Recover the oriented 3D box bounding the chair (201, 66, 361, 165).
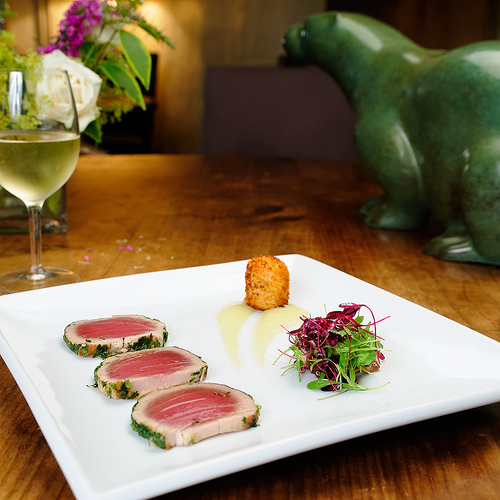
[{"bbox_3d":[0.111,-0.607,2.426,0.565,0.591,1.169,0,18,8],"label":"chair"}]
